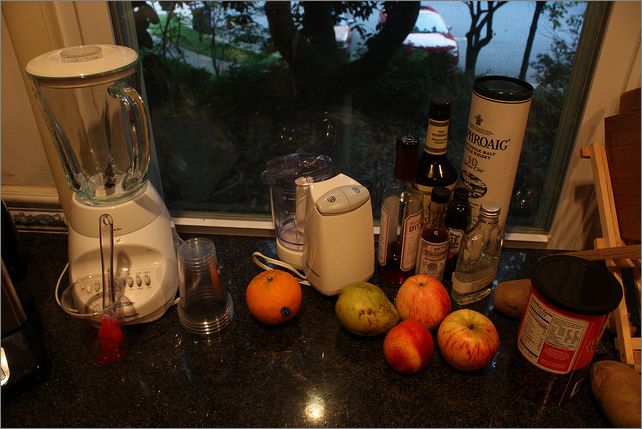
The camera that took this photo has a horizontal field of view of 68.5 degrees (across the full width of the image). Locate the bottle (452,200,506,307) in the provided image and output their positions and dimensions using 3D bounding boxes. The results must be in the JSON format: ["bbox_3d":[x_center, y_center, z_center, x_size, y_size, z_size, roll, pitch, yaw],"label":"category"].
[{"bbox_3d":[0.410,0.123,1.234,0.119,0.234,0.059,-10,33,-16],"label":"bottle"}]

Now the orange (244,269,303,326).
[{"bbox_3d":[-0.121,0.204,1.234,0.129,0.117,0.130,-5,-1,-7],"label":"orange"}]

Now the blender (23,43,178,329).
[{"bbox_3d":[-0.541,-0.069,1.202,0.272,0.634,0.389,-11,34,-18],"label":"blender"}]

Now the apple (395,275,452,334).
[{"bbox_3d":[0.246,0.213,1.154,0.128,0.122,0.127,-3,5,7],"label":"apple"}]

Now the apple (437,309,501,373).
[{"bbox_3d":[0.350,0.285,1.152,0.133,0.136,0.134,-3,28,7],"label":"apple"}]

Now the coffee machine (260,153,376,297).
[{"bbox_3d":[0.054,-0.034,1.391,0.270,0.359,0.382,-23,37,-26],"label":"coffee machine"}]

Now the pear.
[{"bbox_3d":[0.106,0.228,1.193,0.145,0.108,0.105,24,47,2],"label":"pear"}]

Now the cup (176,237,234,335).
[{"bbox_3d":[-0.310,0.185,1.210,0.133,0.211,0.143,0,32,0],"label":"cup"}]

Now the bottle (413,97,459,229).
[{"bbox_3d":[0.298,-0.121,1.217,0.107,0.324,0.119,10,33,15],"label":"bottle"}]
